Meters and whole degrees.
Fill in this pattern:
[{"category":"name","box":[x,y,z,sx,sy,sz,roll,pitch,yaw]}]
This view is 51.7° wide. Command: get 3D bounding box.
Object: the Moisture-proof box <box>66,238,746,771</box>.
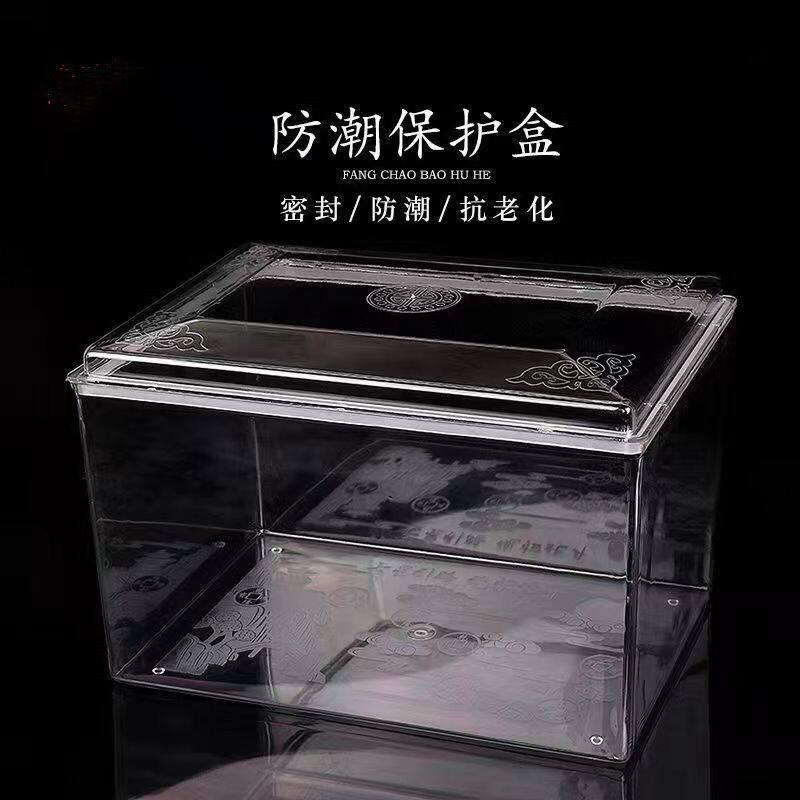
[{"category":"Moisture-proof box","box":[0.120,0.181,1.313,0.977,0.522,0.662,1,3,35]}]
